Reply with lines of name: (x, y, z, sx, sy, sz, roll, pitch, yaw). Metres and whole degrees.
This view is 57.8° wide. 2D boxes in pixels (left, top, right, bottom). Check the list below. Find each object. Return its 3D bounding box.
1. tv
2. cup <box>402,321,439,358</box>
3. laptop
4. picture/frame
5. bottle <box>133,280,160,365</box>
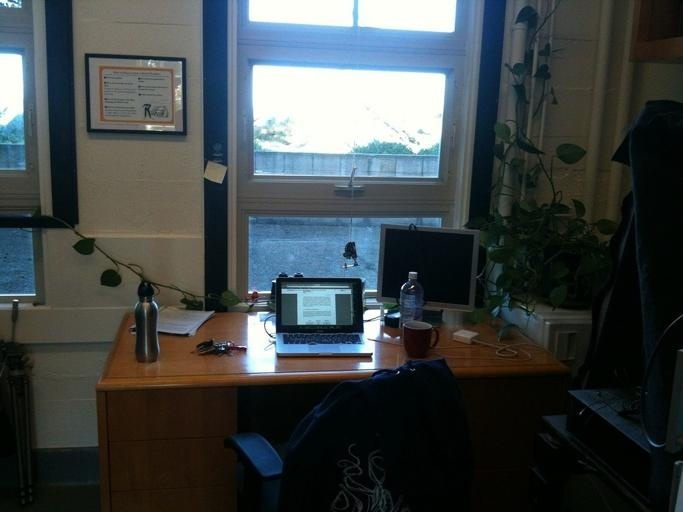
tv: (0.415, 0.097, 2.940, 0.464, 0.406, 0.036, 4, 4, 3)
cup: (0.350, 0.364, 2.671, 0.177, 0.134, 0.115, 3, -2, 6)
laptop: (-0.101, 0.243, 2.806, 0.388, 0.278, 0.342, 0, 7, -5)
picture/frame: (-0.997, -0.778, 2.915, 0.384, 0.315, 0.030, 0, 11, -7)
bottle: (-0.787, 0.262, 2.504, 0.108, 0.332, 0.106, -1, 7, 0)
